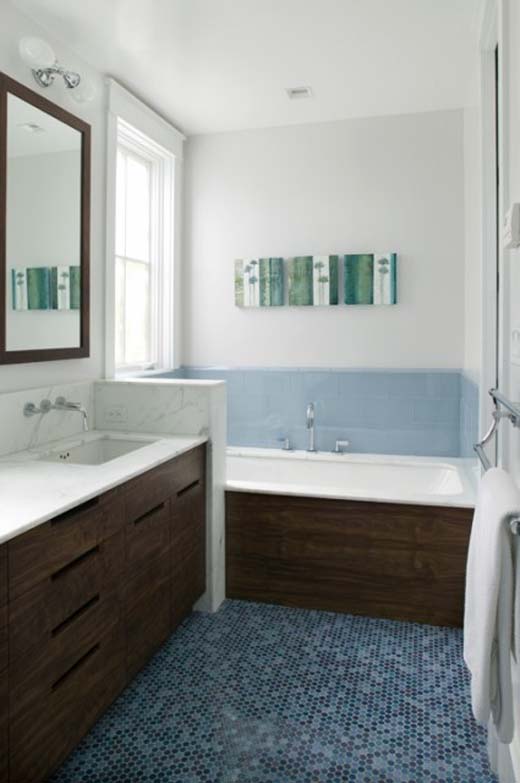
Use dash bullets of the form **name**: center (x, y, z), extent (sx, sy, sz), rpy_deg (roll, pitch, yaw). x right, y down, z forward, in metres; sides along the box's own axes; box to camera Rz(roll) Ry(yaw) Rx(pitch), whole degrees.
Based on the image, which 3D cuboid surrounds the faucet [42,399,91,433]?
- **faucet**: center (-0.744, 0.104, 2.236), extent (0.164, 0.155, 0.453), rpy_deg (-1, 5, -19)

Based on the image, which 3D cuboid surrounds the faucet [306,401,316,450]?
- **faucet**: center (0.296, 0.213, 3.516), extent (0.069, 0.276, 0.064), rpy_deg (2, 4, 30)

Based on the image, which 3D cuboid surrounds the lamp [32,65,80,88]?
- **lamp**: center (-0.778, -1.191, 2.224), extent (0.163, 0.086, 0.098), rpy_deg (24, 36, 27)
